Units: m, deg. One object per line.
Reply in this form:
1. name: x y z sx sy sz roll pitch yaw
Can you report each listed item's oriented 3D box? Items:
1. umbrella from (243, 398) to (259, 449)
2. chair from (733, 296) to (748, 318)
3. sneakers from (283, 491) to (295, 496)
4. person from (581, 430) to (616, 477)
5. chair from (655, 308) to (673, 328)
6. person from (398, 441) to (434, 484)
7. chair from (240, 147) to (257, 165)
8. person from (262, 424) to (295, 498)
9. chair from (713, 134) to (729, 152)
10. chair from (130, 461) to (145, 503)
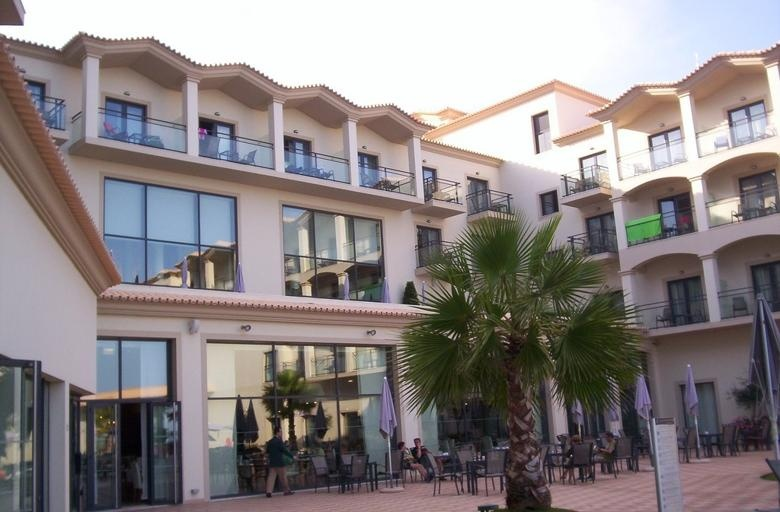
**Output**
1. umbrella: -4.682 5.532 24.690 0.475 1.371 0.181 1 -18 -21
2. chair: 15.520 2.223 32.683 0.768 1.038 0.774 -6 -16 27
3. sneakers: -3.313 7.735 24.036 0.367 0.150 0.124 1 -2 -33
4. person: 6.943 6.488 24.006 0.893 1.452 0.611 -3 -12 18
5. chair: 12.972 2.875 34.636 0.710 1.062 0.792 -8 -16 33
6. person: 0.776 7.138 25.608 1.060 1.302 0.752 -6 -4 23
7. chair: -5.529 -3.924 28.606 0.572 0.735 0.557 4 -7 -32
8. person: -3.715 6.686 24.011 0.898 2.193 1.467 -2 -17 -10
9. chair: 15.160 -5.233 33.644 0.652 0.817 0.641 1 4 24
10. chair: -7.709 6.747 22.252 0.376 1.219 0.214 -5 -17 -1
